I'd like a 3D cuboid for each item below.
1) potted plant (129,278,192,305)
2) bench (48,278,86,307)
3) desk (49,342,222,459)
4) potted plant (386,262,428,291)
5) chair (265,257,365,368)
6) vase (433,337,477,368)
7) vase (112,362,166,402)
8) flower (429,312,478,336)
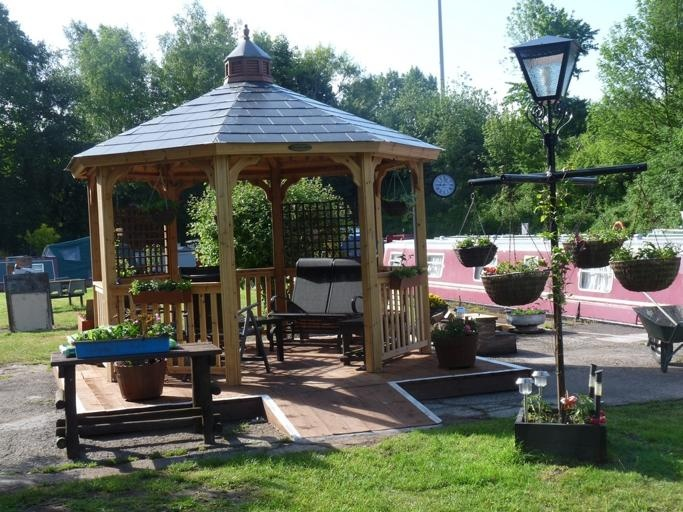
[{"bbox_3d":[-2.553,0.521,10.784,0.891,0.348,0.209,0,10,7],"label":"potted plant"},{"bbox_3d":[-7.689,1.024,21.494,0.876,0.574,0.309,-1,3,-32],"label":"bench"},{"bbox_3d":[-2.424,1.729,9.447,1.816,1.127,0.986,-5,-12,-2],"label":"desk"},{"bbox_3d":[0.993,0.322,11.537,0.217,0.348,0.773,7,12,39],"label":"potted plant"},{"bbox_3d":[-0.463,1.004,12.224,1.885,1.942,1.462,0,2,21],"label":"chair"},{"bbox_3d":[1.634,1.367,10.969,0.550,0.430,0.453,0,-8,-15],"label":"vase"},{"bbox_3d":[-2.620,1.647,10.052,0.584,0.424,0.506,1,-9,-22],"label":"vase"},{"bbox_3d":[1.619,1.009,11.019,0.361,0.232,0.368,-4,0,26],"label":"flower"}]
